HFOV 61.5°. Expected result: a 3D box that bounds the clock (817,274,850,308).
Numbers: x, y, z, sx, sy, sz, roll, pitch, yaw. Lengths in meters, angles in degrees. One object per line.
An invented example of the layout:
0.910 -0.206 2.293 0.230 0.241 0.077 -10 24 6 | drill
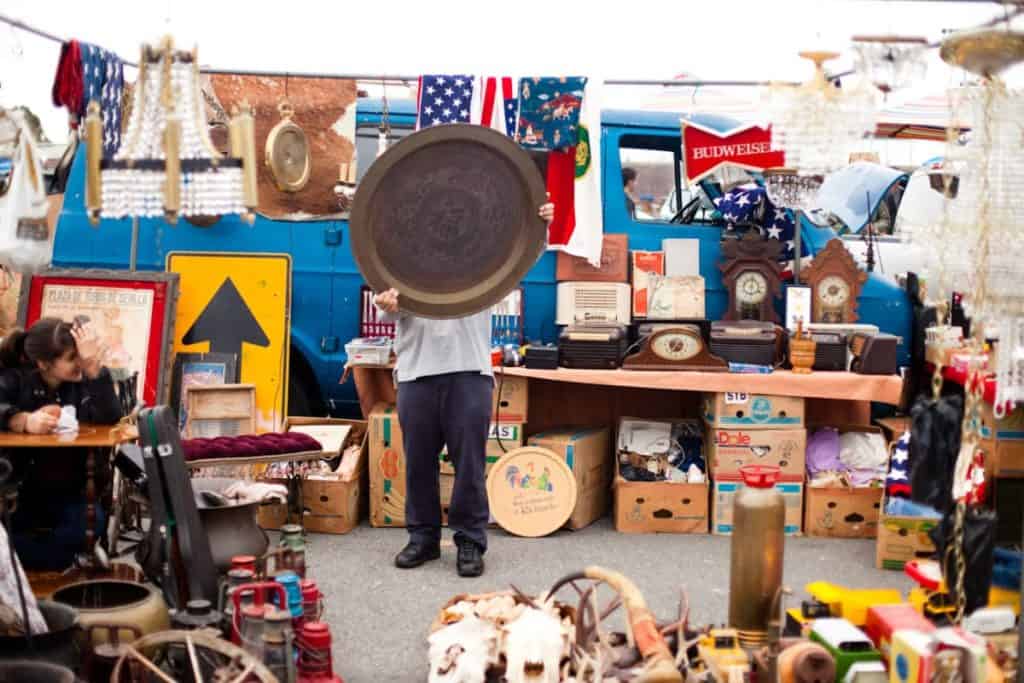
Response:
2.397 -0.393 6.440 0.203 0.227 0.051 1 0 1 | clock

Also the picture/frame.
-2.779 -0.051 5.819 0.961 1.065 0.135 -1 -14 -1 | picture/frame

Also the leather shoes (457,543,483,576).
-0.250 1.333 5.394 0.176 0.177 0.260 0 11 -3 | leather shoes

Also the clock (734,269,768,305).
1.794 -0.432 6.463 0.230 0.257 0.057 -1 2 9 | clock

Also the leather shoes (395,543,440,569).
-0.601 1.349 5.524 0.116 0.167 0.323 9 5 40 | leather shoes

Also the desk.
-2.287 0.848 4.706 0.802 0.673 0.696 0 2 3 | desk
